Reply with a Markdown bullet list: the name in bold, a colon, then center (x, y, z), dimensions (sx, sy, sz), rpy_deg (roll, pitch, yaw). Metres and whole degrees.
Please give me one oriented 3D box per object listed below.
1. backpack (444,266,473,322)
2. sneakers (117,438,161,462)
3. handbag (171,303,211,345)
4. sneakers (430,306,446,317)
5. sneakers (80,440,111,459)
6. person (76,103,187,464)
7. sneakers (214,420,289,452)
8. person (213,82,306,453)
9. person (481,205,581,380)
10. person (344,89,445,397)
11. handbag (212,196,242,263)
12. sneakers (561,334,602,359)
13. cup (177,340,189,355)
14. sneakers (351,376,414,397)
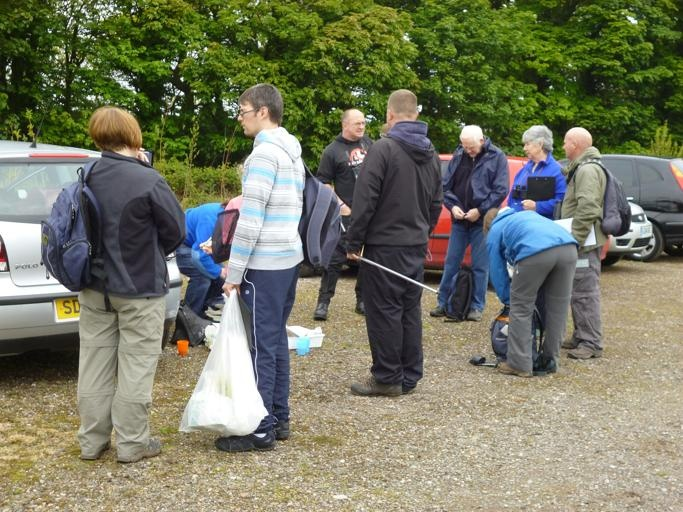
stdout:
- **backpack**: center (1.342, 0.431, 9.737), dimensions (0.267, 0.572, 0.493), rpy_deg (8, 14, 3)
- **sneakers**: center (-1.498, 1.457, 6.351), dimensions (0.122, 0.141, 0.308), rpy_deg (10, 20, 30)
- **handbag**: center (-1.488, 0.705, 8.423), dimensions (0.335, 0.416, 0.162), rpy_deg (29, -18, -11)
- **sneakers**: center (1.120, 0.663, 9.986), dimensions (0.086, 0.087, 0.187), rpy_deg (0, -4, 41)
- **sneakers**: center (-1.832, 1.434, 6.404), dimensions (0.090, 0.109, 0.265), rpy_deg (13, 24, 15)
- **person**: center (-1.590, 0.186, 6.572), dimensions (0.841, 2.602, 0.951), rpy_deg (3, 3, 34)
- **sneakers**: center (-0.699, 1.391, 6.633), dimensions (0.552, 0.242, 0.200), rpy_deg (3, -2, -17)
- **person**: center (-0.599, 0.085, 6.542), dimensions (0.423, 2.772, 0.744), rpy_deg (4, 9, 36)
- **person**: center (1.754, 0.349, 7.991), dimensions (0.812, 1.532, 0.403), rpy_deg (1, 7, 17)
- **person**: center (0.497, -0.119, 7.528), dimensions (0.860, 2.664, 0.455), rpy_deg (-6, 9, -36)
- **handbag**: center (-0.885, -0.174, 6.507), dimensions (0.148, 0.397, 0.285), rpy_deg (16, -2, 2)
- **sneakers**: center (2.366, 0.925, 8.586), dimensions (0.456, 0.216, 0.161), rpy_deg (9, 7, 16)
- **cup**: center (-1.532, 0.884, 8.231), dimensions (0.121, 0.131, 0.124), rpy_deg (0, -3, 0)
- **sneakers**: center (0.366, 1.121, 7.609), dimensions (0.542, 0.235, 0.199), rpy_deg (3, 1, 6)
